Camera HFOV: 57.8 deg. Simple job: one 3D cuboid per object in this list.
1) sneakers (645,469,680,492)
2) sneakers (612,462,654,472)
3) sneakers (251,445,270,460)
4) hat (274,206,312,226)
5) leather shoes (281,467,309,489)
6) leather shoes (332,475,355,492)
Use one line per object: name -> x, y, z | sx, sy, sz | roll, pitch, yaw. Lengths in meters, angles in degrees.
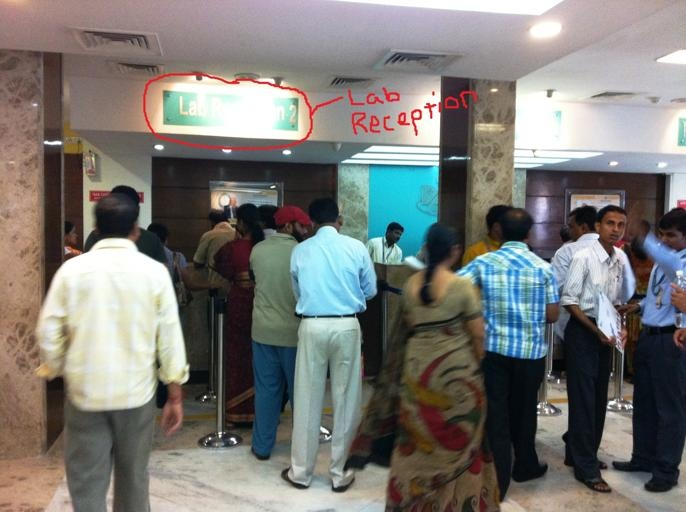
sneakers -> 2.413, 1.700, 4.668 | 0.291, 0.121, 0.103 | -1, -10, -12
sneakers -> 2.303, 1.654, 4.922 | 0.274, 0.107, 0.097 | -2, -8, 15
sneakers -> -0.682, 1.618, 5.066 | 0.064, 0.068, 0.173 | 3, 14, -26
hat -> -0.426, -0.342, 5.177 | 0.243, 0.128, 0.167 | -3, 8, -20
leather shoes -> -0.370, 1.688, 4.710 | 0.095, 0.097, 0.250 | -6, 18, -35
leather shoes -> -0.005, 1.677, 4.632 | 0.076, 0.086, 0.222 | 6, 8, 26
